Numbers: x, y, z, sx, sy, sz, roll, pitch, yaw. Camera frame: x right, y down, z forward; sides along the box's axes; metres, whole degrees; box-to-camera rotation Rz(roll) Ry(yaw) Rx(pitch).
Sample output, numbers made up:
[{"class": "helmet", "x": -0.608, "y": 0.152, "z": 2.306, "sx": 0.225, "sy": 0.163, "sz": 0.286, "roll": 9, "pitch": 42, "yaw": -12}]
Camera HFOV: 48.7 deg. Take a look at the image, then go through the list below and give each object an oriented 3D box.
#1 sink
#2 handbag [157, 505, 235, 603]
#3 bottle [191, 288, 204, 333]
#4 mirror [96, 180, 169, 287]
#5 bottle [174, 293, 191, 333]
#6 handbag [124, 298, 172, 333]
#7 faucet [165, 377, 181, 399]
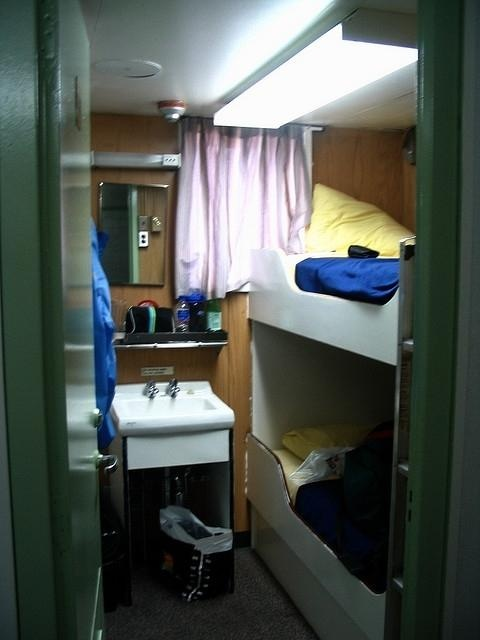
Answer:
[{"class": "sink", "x": -0.329, "y": 0.473, "z": 2.460, "sx": 0.510, "sy": 0.305, "sz": 0.498, "roll": 0, "pitch": 2, "yaw": -16}, {"class": "handbag", "x": -0.201, "y": 1.037, "z": 2.398, "sx": 0.203, "sy": 0.312, "sz": 0.386, "roll": 2, "pitch": -4, "yaw": -25}, {"class": "bottle", "x": -0.214, "y": -0.048, "z": 2.639, "sx": 0.087, "sy": 0.202, "sz": 0.054, "roll": 0, "pitch": 2, "yaw": -13}, {"class": "mirror", "x": -0.523, "y": -0.413, "z": 2.603, "sx": 0.323, "sy": 0.571, "sz": 0.018, "roll": -5, "pitch": 41, "yaw": -17}, {"class": "bottle", "x": -0.287, "y": -0.031, "z": 2.628, "sx": 0.075, "sy": 0.173, "sz": 0.147, "roll": 0, "pitch": 2, "yaw": -8}, {"class": "handbag", "x": -0.426, "y": 0.000, "z": 2.485, "sx": 0.155, "sy": 0.144, "sz": 0.129, "roll": 1, "pitch": -5, "yaw": -17}, {"class": "faucet", "x": -0.334, "y": 0.341, "z": 2.631, "sx": 0.059, "sy": 0.104, "sz": 0.230, "roll": 1, "pitch": -5, "yaw": -6}]
